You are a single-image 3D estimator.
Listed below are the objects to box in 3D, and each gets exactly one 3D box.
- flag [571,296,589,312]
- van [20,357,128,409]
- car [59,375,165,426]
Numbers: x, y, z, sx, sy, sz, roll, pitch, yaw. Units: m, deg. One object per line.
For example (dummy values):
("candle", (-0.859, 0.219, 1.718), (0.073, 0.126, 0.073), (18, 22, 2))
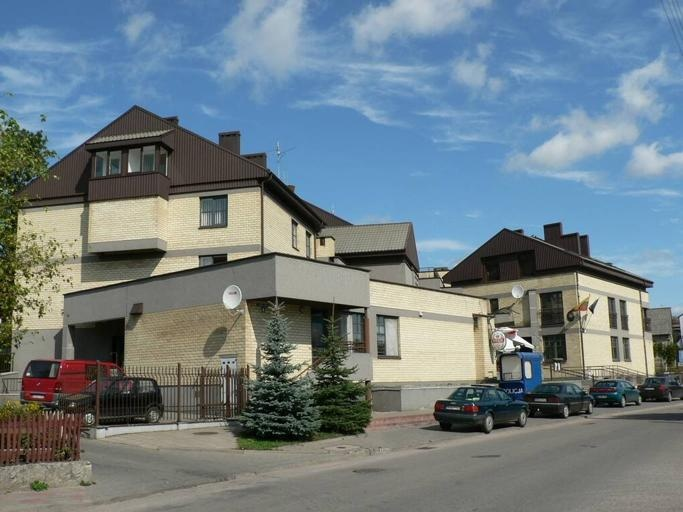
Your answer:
("flag", (16.996, 3.352, 56.310), (1.121, 1.204, 2.368), (-5, -15, 15))
("van", (-11.448, 5.771, 33.982), (2.655, 2.019, 4.259), (-6, -7, 43))
("car", (-8.766, 5.564, 30.447), (3.647, 1.977, 2.120), (4, -15, -19))
